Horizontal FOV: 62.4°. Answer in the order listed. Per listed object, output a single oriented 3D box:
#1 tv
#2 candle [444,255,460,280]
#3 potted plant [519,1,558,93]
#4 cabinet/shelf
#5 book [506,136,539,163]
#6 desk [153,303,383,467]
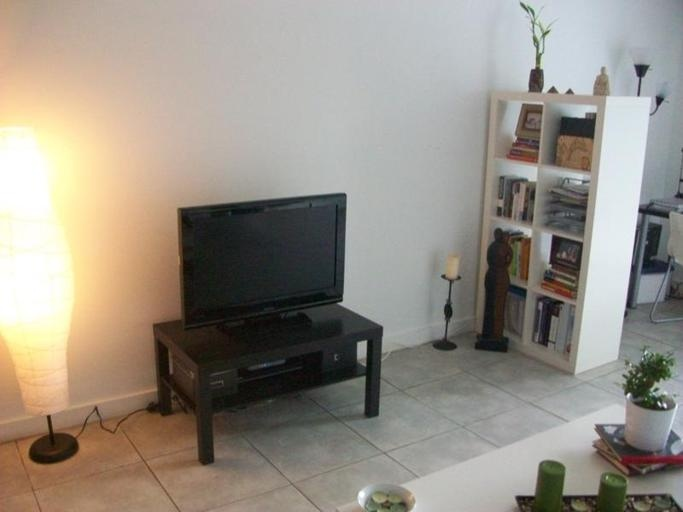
[{"bbox_3d":[-0.493,0.052,3.290,0.837,0.563,0.081,-8,21,-25],"label":"tv"},{"bbox_3d":[0.833,0.072,4.284,0.094,0.177,0.174,2,16,13],"label":"candle"},{"bbox_3d":[1.463,-1.594,4.295,0.246,0.691,0.719,4,17,20],"label":"potted plant"},{"bbox_3d":[1.565,-0.224,4.189,1.028,1.954,0.728,10,20,37],"label":"cabinet/shelf"},{"bbox_3d":[1.351,-0.788,4.222,0.307,0.174,0.209,15,7,41],"label":"book"},{"bbox_3d":[-0.456,0.700,3.518,1.231,0.579,0.689,-7,18,-32],"label":"desk"}]
